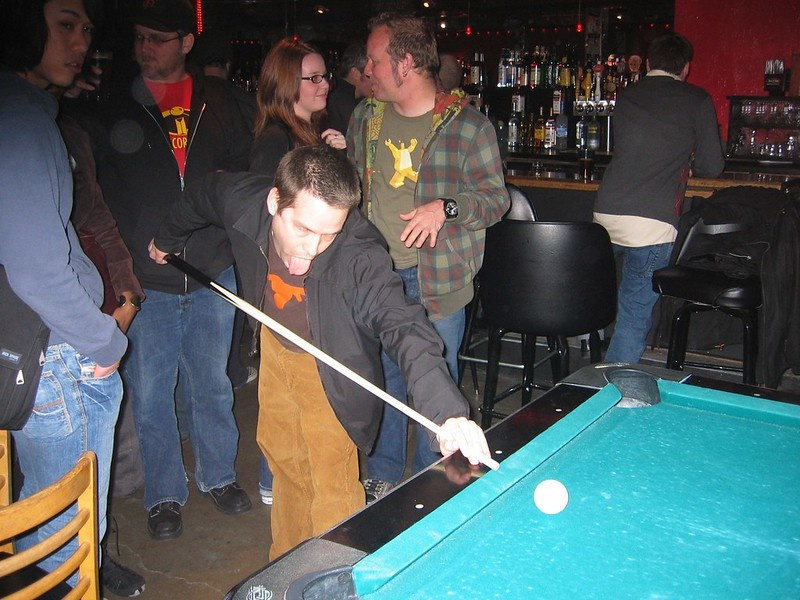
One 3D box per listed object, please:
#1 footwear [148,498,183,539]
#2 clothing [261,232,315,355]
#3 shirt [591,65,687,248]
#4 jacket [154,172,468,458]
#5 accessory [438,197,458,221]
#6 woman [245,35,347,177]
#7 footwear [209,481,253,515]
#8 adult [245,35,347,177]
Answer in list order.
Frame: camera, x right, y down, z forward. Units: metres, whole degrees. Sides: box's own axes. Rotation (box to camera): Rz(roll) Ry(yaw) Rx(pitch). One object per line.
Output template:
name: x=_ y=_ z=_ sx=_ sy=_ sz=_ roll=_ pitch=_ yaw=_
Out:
footwear: x=-1.042 y=0.937 z=2.862 sx=0.151 sy=0.140 sz=0.352 roll=-3 pitch=4 yaw=-19
clothing: x=-0.392 y=-0.016 z=2.203 sx=0.217 sy=0.355 sz=0.093 roll=-16 pitch=-3 yaw=-5
shirt: x=1.332 y=-0.671 z=3.523 sx=0.587 sy=1.019 sz=0.248 roll=10 pitch=8 yaw=17
jacket: x=-0.331 y=0.022 z=2.337 sx=1.205 sy=0.664 sz=0.320 roll=31 pitch=50 yaw=20
accessory: x=0.201 y=-0.367 z=2.576 sx=0.088 sy=0.063 sz=0.032 roll=3 pitch=-7 yaw=-37
woman: x=-0.512 y=-0.791 z=2.817 sx=0.379 sy=0.582 sz=0.631 roll=4 pitch=17 yaw=18
footwear: x=-0.782 y=0.896 z=2.969 sx=0.216 sy=0.083 sz=0.094 roll=7 pitch=15 yaw=38
adult: x=-0.514 y=-0.804 z=2.797 sx=0.341 sy=0.555 sz=0.615 roll=10 pitch=24 yaw=20
